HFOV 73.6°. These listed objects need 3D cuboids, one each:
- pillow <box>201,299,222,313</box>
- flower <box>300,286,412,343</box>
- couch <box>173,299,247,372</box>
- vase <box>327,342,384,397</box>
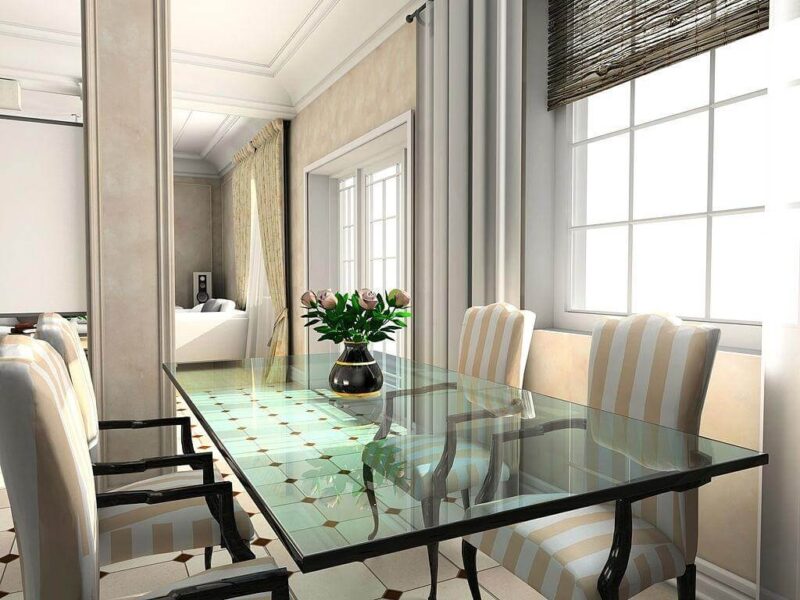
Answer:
[{"bbox_3d":[-2.802,0.099,7.955,0.230,0.085,0.261,-5,14,19],"label":"pillow"},{"bbox_3d":[-0.172,0.058,2.099,0.346,0.224,0.378,0,-1,-12],"label":"flower"},{"bbox_3d":[-2.638,0.489,7.425,0.909,0.832,1.305,2,-3,-22],"label":"couch"},{"bbox_3d":[-0.174,0.265,2.096,0.206,0.210,0.211,-1,5,-18],"label":"vase"}]
